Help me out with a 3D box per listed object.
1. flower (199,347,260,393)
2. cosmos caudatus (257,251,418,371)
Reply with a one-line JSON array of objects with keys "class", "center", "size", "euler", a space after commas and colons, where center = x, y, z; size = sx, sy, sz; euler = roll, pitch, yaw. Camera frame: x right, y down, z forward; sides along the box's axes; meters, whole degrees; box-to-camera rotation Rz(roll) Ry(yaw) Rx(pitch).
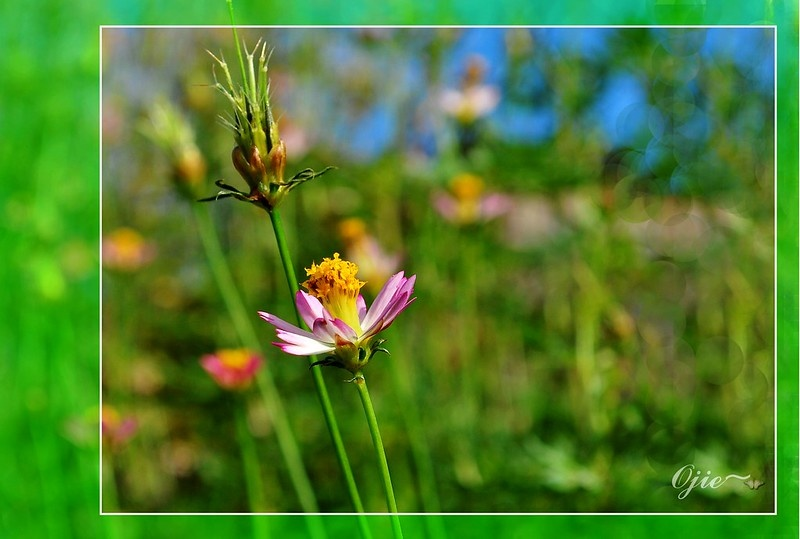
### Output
[{"class": "flower", "center": [-0.295, 0.170, 1.340], "size": [0.071, 0.078, 0.030], "euler": [19, 37, -23]}, {"class": "cosmos caudatus", "center": [-0.087, 0.063, 1.175], "size": [0.190, 0.145, 0.171], "euler": [-31, 30, -35]}]
